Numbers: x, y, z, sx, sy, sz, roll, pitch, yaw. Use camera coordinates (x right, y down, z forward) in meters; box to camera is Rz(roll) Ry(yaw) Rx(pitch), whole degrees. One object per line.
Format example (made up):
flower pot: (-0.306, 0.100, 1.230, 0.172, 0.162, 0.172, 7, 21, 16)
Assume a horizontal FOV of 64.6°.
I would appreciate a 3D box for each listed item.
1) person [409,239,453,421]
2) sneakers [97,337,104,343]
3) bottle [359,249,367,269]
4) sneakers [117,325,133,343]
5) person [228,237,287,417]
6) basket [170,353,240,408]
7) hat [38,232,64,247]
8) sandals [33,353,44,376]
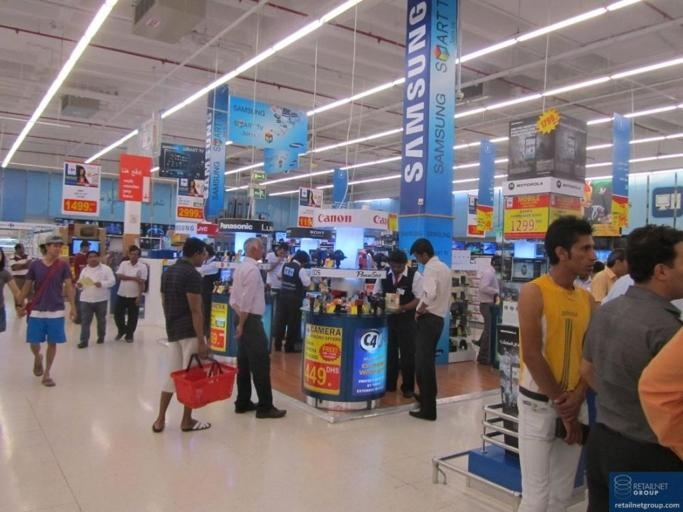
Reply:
person: (1.001, 0.848, 6.209, 0.455, 2.056, 0.322, 2, 5, 8)
sneakers: (-4.177, 1.458, 9.332, 0.120, 0.122, 0.073, 7, -4, -30)
bottle: (0.273, 0.040, 6.999, 0.117, 0.231, 0.216, 1, 6, -2)
sneakers: (-3.861, 1.386, 9.623, 0.205, 0.260, 0.167, 8, -18, 2)
person: (-0.975, 0.810, 6.160, 0.477, 2.006, 0.659, -3, 7, -42)
basket: (-1.395, 1.255, 5.724, 0.462, 0.566, 0.709, 0, -2, 40)
hat: (-5.636, -0.330, 10.478, 0.590, 0.202, 0.467, -7, -6, 33)
sandals: (-3.993, 1.396, 7.146, 0.135, 0.394, 0.157, -3, -2, -30)
